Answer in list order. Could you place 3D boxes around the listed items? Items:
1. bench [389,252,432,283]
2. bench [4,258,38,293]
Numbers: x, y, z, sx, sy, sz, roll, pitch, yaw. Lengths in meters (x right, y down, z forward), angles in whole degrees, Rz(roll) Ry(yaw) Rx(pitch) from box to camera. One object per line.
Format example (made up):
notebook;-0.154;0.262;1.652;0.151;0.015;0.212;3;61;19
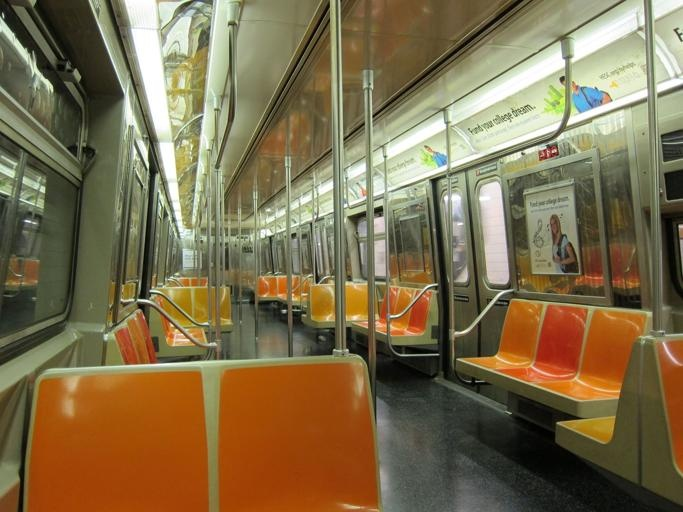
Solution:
bench;0.971;0.184;6.505;0.138;0.348;0.611;1;3;-30
bench;-1.721;0.101;2.588;0.123;0.179;0.231;7;-13;-28
